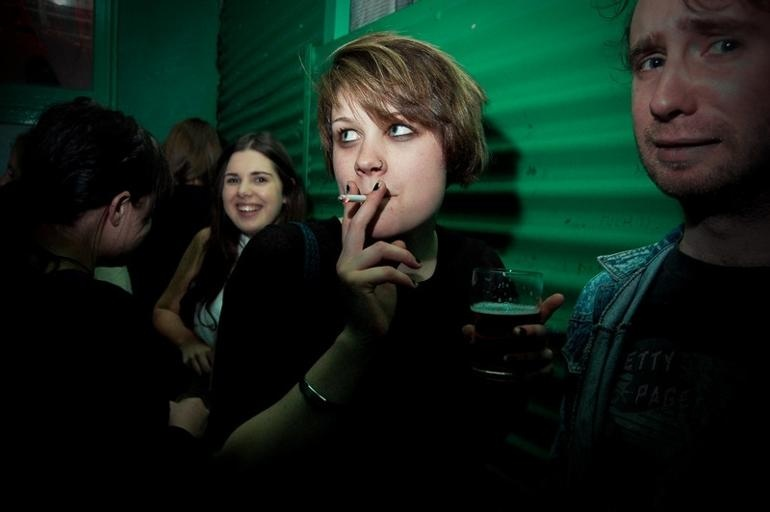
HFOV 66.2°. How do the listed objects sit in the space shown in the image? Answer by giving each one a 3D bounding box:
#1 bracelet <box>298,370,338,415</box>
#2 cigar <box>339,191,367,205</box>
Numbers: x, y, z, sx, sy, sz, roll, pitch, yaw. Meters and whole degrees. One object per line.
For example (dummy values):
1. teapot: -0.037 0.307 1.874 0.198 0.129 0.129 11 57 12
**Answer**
1. bracelet: -0.266 0.527 2.297 0.132 0.037 0.134 37 12 14
2. cigar: -0.153 -0.241 2.430 0.095 0.043 0.198 -1 11 -32
